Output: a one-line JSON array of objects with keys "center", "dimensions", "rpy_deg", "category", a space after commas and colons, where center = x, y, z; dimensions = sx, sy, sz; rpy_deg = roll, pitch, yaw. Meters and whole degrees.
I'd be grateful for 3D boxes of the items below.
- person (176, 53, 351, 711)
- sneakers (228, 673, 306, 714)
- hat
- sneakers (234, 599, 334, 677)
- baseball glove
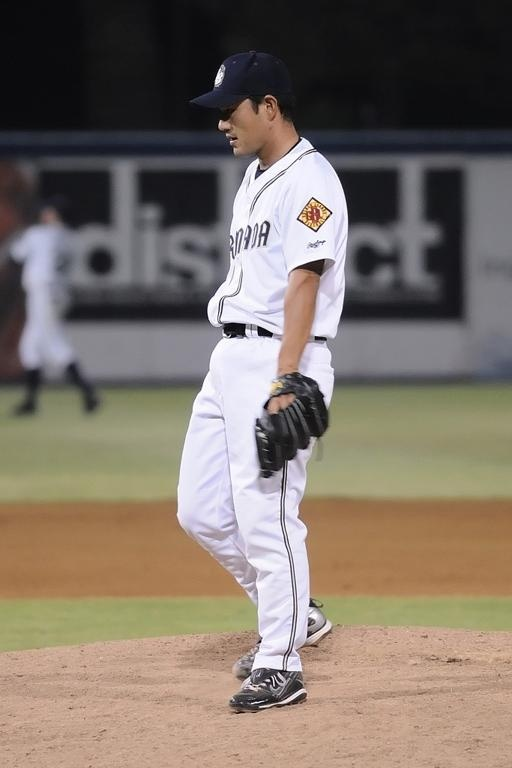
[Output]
[{"center": [0.035, -0.040, 2.992], "dimensions": [0.410, 1.737, 0.523], "rpy_deg": [-1, -1, -23], "category": "person"}, {"center": [0.027, 0.768, 2.834], "dimensions": [0.208, 0.086, 0.082], "rpy_deg": [-1, -10, -34], "category": "sneakers"}, {"center": [-0.026, -0.798, 2.961], "dimensions": [0.297, 0.141, 0.186], "rpy_deg": [-5, 13, -6], "category": "hat"}, {"center": [0.075, 0.736, 3.312], "dimensions": [0.326, 0.136, 0.104], "rpy_deg": [-21, -6, -37], "category": "sneakers"}, {"center": [0.081, 0.099, 2.773], "dimensions": [0.178, 0.252, 0.097], "rpy_deg": [12, -6, 6], "category": "baseball glove"}]
